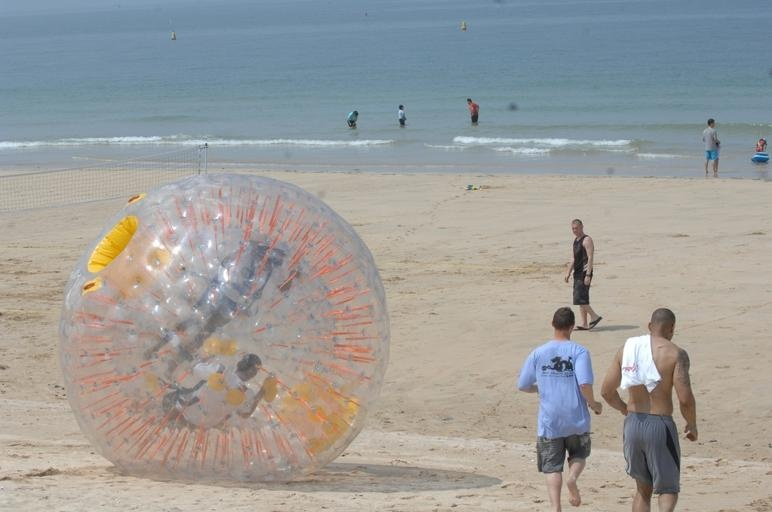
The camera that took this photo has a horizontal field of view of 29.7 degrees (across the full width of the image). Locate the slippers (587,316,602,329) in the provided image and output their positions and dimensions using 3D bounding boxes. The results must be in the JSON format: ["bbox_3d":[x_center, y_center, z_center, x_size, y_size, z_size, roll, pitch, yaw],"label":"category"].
[{"bbox_3d":[8.516,2.720,59.020,0.236,0.695,0.257,43,1,-21],"label":"slippers"}]
